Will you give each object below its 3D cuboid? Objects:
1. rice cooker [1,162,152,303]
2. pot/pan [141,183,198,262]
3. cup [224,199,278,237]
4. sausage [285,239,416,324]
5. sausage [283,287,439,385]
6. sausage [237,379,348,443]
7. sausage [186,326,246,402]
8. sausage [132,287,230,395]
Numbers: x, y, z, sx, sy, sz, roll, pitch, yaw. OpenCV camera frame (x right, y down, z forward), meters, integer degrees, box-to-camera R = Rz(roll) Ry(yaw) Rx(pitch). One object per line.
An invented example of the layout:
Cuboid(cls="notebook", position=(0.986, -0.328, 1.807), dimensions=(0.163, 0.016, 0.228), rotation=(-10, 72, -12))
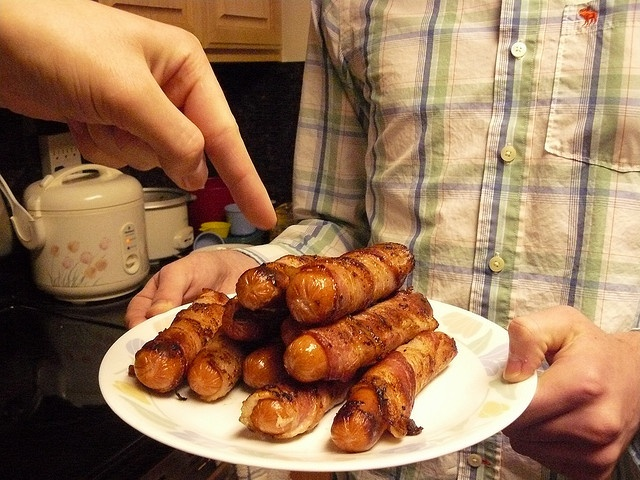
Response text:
Cuboid(cls="rice cooker", position=(-0.708, -0.040, 1.630), dimensions=(0.365, 0.447, 0.467), rotation=(8, 19, 21))
Cuboid(cls="pot/pan", position=(-0.622, -0.058, 1.984), dimensions=(0.200, 0.315, 0.184), rotation=(14, 17, 34))
Cuboid(cls="cup", position=(-0.321, -0.107, 2.300), dimensions=(0.241, 0.182, 0.164), rotation=(-2, 14, -28))
Cuboid(cls="sausage", position=(0.076, 0.069, 0.924), dimensions=(0.105, 0.102, 0.330), rotation=(12, 16, 37))
Cuboid(cls="sausage", position=(0.086, 0.171, 0.868), dimensions=(0.315, 0.091, 0.108), rotation=(-16, 25, -38))
Cuboid(cls="sausage", position=(-0.022, 0.260, 0.819), dimensions=(0.111, 0.083, 0.220), rotation=(2, 6, 35))
Cuboid(cls="sausage", position=(-0.185, 0.214, 0.886), dimensions=(0.089, 0.072, 0.191), rotation=(3, 9, 0))
Cuboid(cls="sausage", position=(-0.253, 0.173, 0.918), dimensions=(0.092, 0.083, 0.272), rotation=(20, 22, 1))
